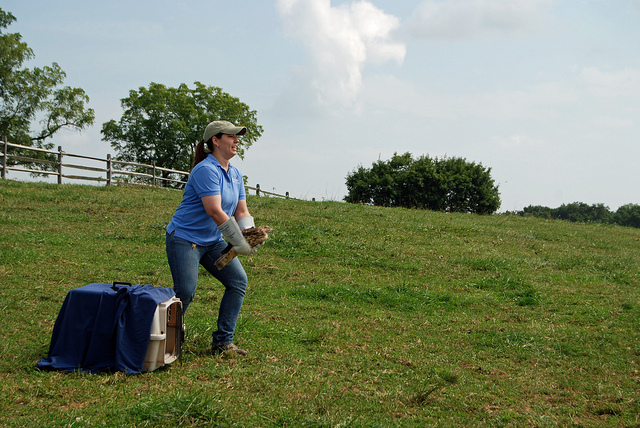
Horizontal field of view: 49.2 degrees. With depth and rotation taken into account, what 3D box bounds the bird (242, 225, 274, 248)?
[{"bbox_3d":[-1.208,0.420,13.575,0.553,0.425,0.314,20,-10,-10],"label":"bird"}]
